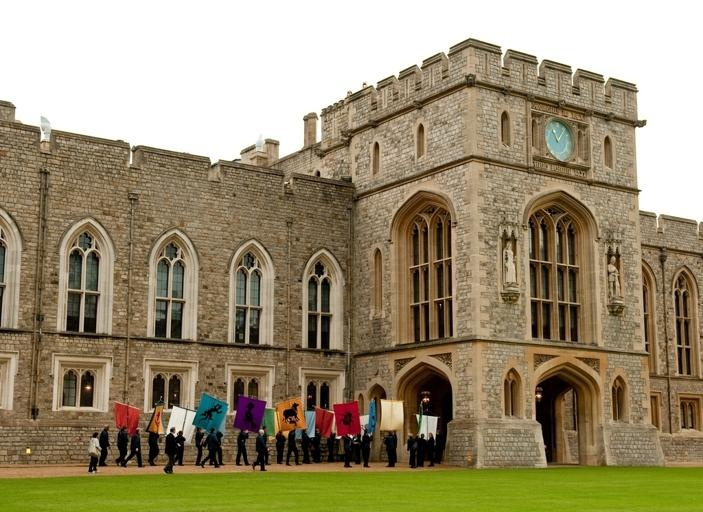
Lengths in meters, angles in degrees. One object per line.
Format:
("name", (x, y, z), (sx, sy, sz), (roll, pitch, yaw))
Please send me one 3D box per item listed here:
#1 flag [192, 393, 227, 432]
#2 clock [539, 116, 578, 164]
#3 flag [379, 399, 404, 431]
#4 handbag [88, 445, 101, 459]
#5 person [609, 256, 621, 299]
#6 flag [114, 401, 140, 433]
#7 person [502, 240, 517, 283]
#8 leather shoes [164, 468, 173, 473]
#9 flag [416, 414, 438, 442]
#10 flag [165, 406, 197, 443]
("flag", (-5.194, 5.729, 40.800), (1.324, 1.513, 0.251), (23, -12, -14))
("clock", (8.284, -4.705, 45.890), (1.565, 1.715, 0.125), (17, -25, -40))
("flag", (1.528, 6.143, 43.376), (1.214, 1.345, 0.096), (11, -24, -29))
("handbag", (-8.542, 6.532, 37.535), (0.335, 0.402, 0.560), (5, -17, -18))
("person", (10.707, 0.899, 46.098), (0.574, 1.832, 0.297), (9, -18, -31))
("flag", (-8.185, 5.899, 40.921), (1.083, 1.219, 0.161), (5, -18, -4))
("person", (6.027, 0.269, 43.544), (0.466, 1.838, 0.326), (-1, -15, 6))
("leather shoes", (-6.022, 7.070, 37.040), (0.275, 0.306, 0.153), (1, -4, 23))
("flag", (2.837, 6.614, 43.143), (1.026, 1.145, 0.047), (5, -4, -34))
("flag", (-6.162, 6.118, 40.593), (1.334, 1.563, 0.142), (17, 8, -34))
